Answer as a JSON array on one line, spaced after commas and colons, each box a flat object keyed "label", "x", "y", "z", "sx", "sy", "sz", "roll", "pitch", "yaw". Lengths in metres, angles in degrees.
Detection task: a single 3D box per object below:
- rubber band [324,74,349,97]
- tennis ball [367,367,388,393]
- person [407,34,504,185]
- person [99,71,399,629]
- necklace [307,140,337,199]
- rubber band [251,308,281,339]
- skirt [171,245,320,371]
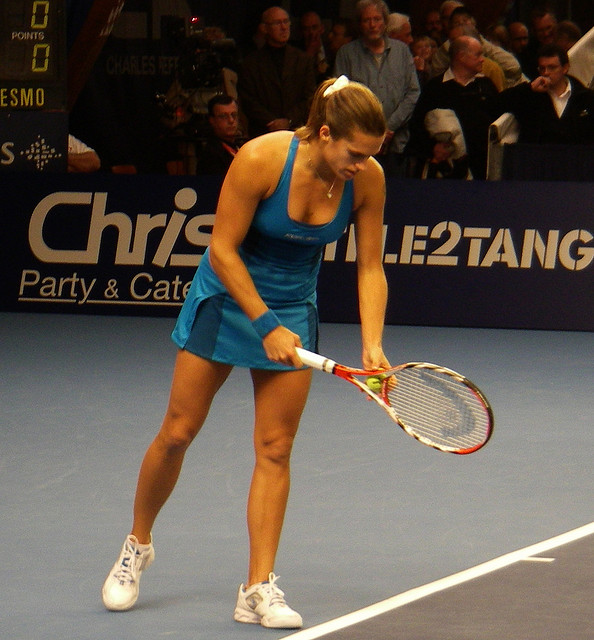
[{"label": "rubber band", "x": 0.103, "y": -0.552, "z": 1.754, "sx": 0.067, "sy": 0.016, "sz": 0.036, "roll": -30, "pitch": 35, "yaw": 15}, {"label": "tennis ball", "x": 0.221, "y": 0.164, "z": 1.932, "sx": 0.041, "sy": 0.028, "sz": 0.066, "roll": -11, "pitch": 7, "yaw": 0}, {"label": "person", "x": 1.613, "y": -2.089, "z": 7.308, "sx": 0.863, "sy": 1.360, "sz": 0.297, "roll": 9, "pitch": 13, "yaw": 9}, {"label": "person", "x": -0.085, "y": 0.119, "z": 2.023, "sx": 0.727, "sy": 1.562, "sz": 0.591, "roll": 9, "pitch": 13, "yaw": 7}, {"label": "necklace", "x": 0.059, "y": -0.373, "z": 1.816, "sx": 0.085, "sy": 0.133, "sz": 0.037, "roll": 6, "pitch": 13, "yaw": -4}, {"label": "rubber band", "x": -0.076, "y": 0.009, "z": 1.808, "sx": 0.060, "sy": 0.050, "sz": 0.067, "roll": -38, "pitch": 6, "yaw": -22}, {"label": "skirt", "x": -0.133, "y": -0.032, "z": 1.979, "sx": 0.409, "sy": 0.316, "sz": 0.286, "roll": 7, "pitch": 13, "yaw": -1}]
